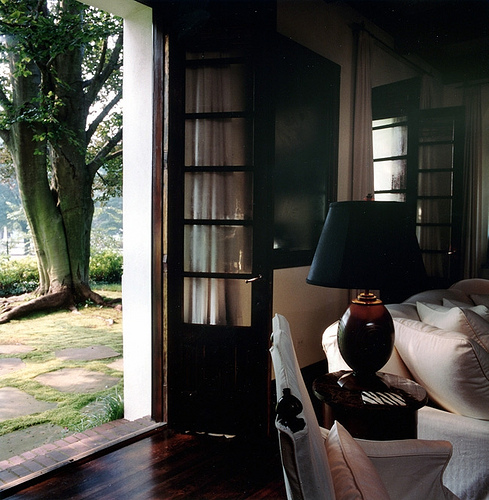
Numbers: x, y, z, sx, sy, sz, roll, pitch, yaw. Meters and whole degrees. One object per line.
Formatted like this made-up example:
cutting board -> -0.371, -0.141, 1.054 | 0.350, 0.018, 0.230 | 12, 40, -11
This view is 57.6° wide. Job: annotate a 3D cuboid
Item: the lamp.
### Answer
lamp -> 0.403, 0.162, 1.765 | 0.502, 0.819, 0.560 | 2, -5, 2
